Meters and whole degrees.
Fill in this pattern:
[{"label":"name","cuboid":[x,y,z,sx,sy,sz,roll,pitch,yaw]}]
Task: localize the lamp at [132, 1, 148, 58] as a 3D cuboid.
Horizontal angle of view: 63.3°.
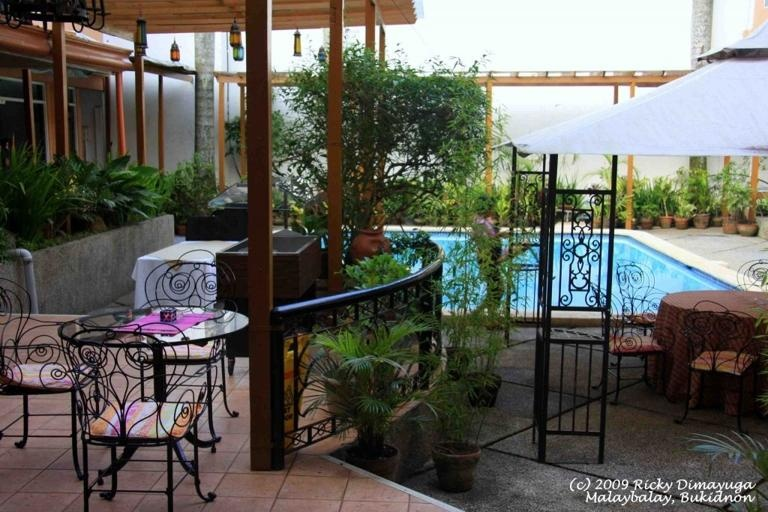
[{"label":"lamp","cuboid":[-3.996,-3.739,10.278,0.193,0.784,0.783,-3,10,-21]}]
